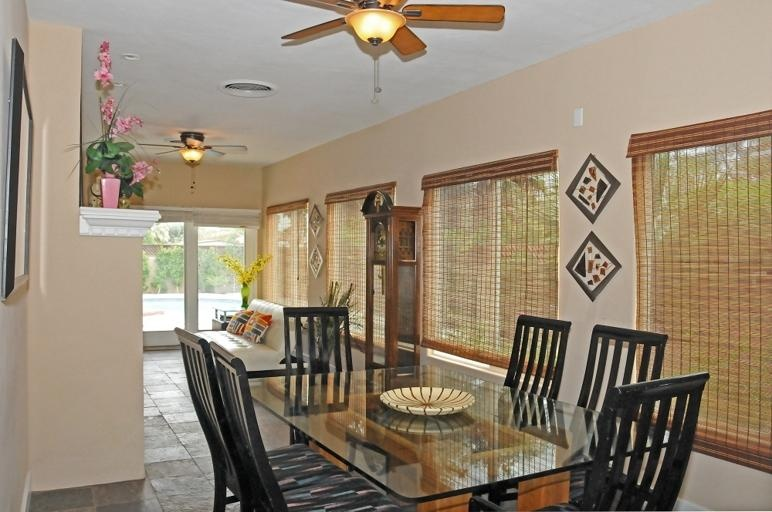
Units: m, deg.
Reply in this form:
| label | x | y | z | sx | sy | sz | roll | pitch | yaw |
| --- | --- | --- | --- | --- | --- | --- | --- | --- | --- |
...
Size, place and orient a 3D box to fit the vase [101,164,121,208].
| label | x | y | z | sx | sy | sz | roll | pitch | yaw |
| --- | --- | --- | --- | --- | --- | --- | --- | --- | --- |
| vase | -2.086 | -0.525 | 4.295 | 0.133 | 0.330 | 0.157 | -1 | 2 | -26 |

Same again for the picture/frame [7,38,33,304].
| label | x | y | z | sx | sy | sz | roll | pitch | yaw |
| --- | --- | --- | --- | --- | --- | --- | --- | --- | --- |
| picture/frame | -2.156 | -0.489 | 3.316 | 0.101 | 1.437 | 1.088 | -1 | 2 | -29 |

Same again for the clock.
| label | x | y | z | sx | sy | sz | roll | pitch | yaw |
| --- | --- | --- | --- | --- | --- | --- | --- | --- | --- |
| clock | 0.031 | 0.263 | 5.887 | 0.627 | 1.859 | 0.388 | 1 | 2 | 8 |

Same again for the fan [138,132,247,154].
| label | x | y | z | sx | sy | sz | roll | pitch | yaw |
| --- | --- | --- | --- | --- | --- | --- | --- | --- | --- |
| fan | -2.383 | -1.447 | 7.246 | 0.761 | 0.137 | 0.815 | 1 | 3 | -9 |

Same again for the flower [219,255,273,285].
| label | x | y | z | sx | sy | sz | roll | pitch | yaw |
| --- | --- | --- | --- | --- | --- | --- | --- | --- | --- |
| flower | -2.312 | 0.205 | 9.243 | 0.655 | 0.438 | 0.659 | 6 | 7 | 42 |

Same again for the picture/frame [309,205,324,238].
| label | x | y | z | sx | sy | sz | roll | pitch | yaw |
| --- | --- | --- | --- | --- | --- | --- | --- | --- | --- |
| picture/frame | -1.019 | -0.521 | 8.258 | 0.048 | 0.443 | 0.447 | -3 | 11 | -27 |

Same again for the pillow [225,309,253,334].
| label | x | y | z | sx | sy | sz | roll | pitch | yaw |
| --- | --- | --- | --- | --- | --- | --- | --- | --- | --- |
| pillow | -2.074 | 0.932 | 8.009 | 0.110 | 0.336 | 0.358 | 31 | -10 | -31 |

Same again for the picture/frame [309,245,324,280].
| label | x | y | z | sx | sy | sz | roll | pitch | yaw |
| --- | --- | --- | --- | --- | --- | --- | --- | --- | --- |
| picture/frame | -1.021 | 0.090 | 8.270 | 0.042 | 0.503 | 0.515 | 0 | 2 | -31 |

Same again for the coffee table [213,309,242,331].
| label | x | y | z | sx | sy | sz | roll | pitch | yaw |
| --- | --- | --- | --- | --- | --- | --- | --- | --- | --- |
| coffee table | -2.589 | 0.999 | 9.227 | 0.381 | 0.347 | 0.726 | 0 | 0 | -27 |
